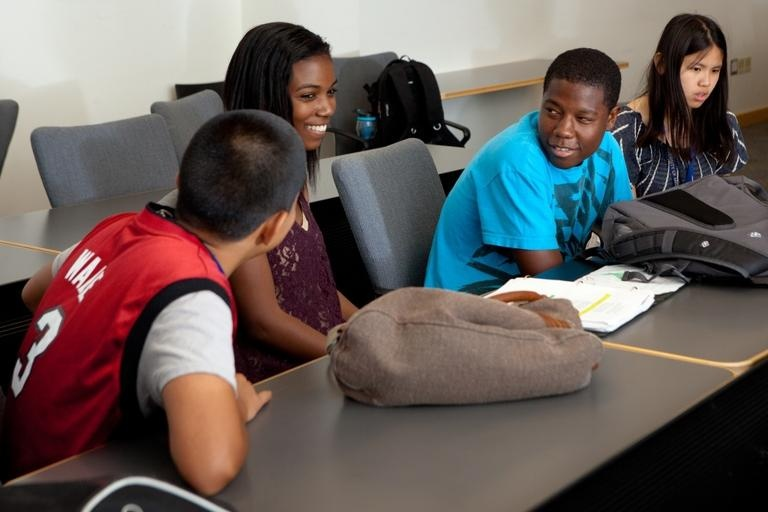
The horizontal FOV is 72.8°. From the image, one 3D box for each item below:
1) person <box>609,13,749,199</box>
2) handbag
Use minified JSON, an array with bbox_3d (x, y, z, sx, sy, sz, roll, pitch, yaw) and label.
[{"bbox_3d":[1.369,-0.691,2.488,0.738,0.746,0.407,-6,26,-6],"label":"person"},{"bbox_3d":[0.159,0.162,0.974,0.358,0.111,0.258,-1,12,4],"label":"handbag"}]
